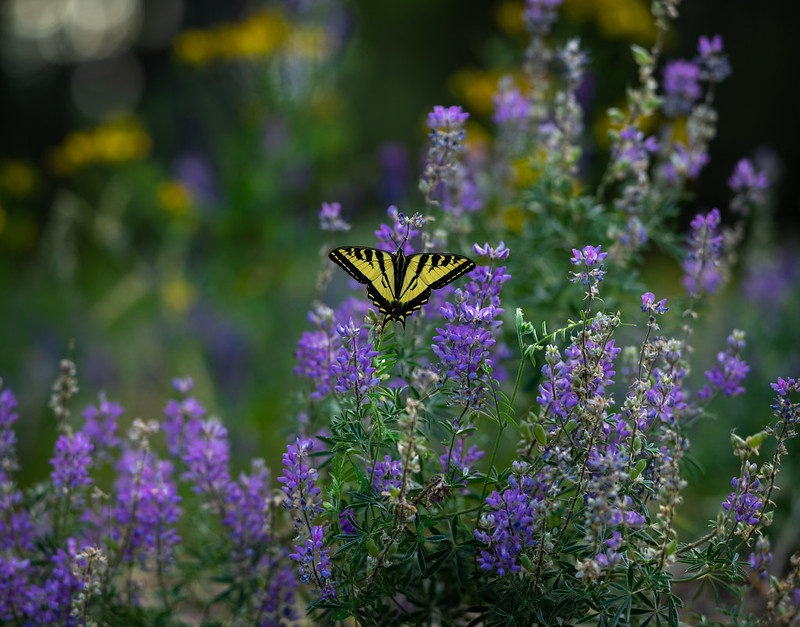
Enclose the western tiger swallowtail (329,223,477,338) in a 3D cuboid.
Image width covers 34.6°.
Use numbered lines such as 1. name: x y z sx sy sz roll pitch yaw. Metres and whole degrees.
1. western tiger swallowtail: 0.034 -0.132 5.472 0.456 0.153 0.425 4 80 -1
